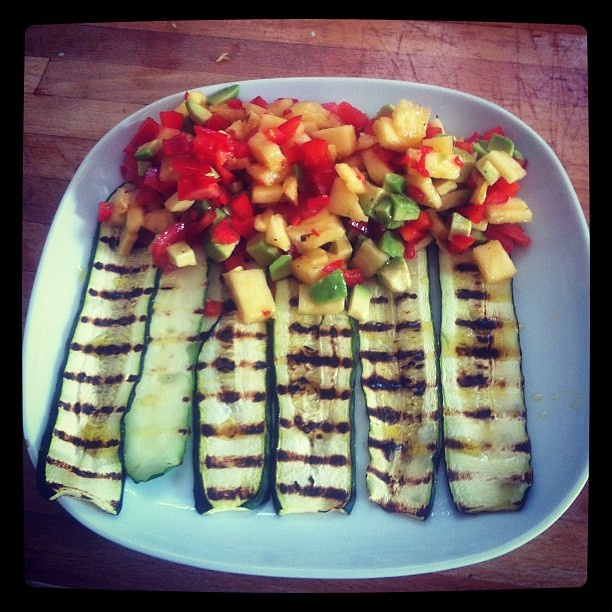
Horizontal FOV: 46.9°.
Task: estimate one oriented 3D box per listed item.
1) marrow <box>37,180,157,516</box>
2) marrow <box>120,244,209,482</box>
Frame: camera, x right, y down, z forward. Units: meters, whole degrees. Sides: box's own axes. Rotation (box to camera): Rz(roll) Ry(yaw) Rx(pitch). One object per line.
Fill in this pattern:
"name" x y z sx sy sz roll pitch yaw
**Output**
"marrow" -0.768 0.146 2.865 0.399 0.124 1.167 5 80 20
"marrow" -0.537 0.222 2.811 0.339 0.106 0.898 10 81 5
